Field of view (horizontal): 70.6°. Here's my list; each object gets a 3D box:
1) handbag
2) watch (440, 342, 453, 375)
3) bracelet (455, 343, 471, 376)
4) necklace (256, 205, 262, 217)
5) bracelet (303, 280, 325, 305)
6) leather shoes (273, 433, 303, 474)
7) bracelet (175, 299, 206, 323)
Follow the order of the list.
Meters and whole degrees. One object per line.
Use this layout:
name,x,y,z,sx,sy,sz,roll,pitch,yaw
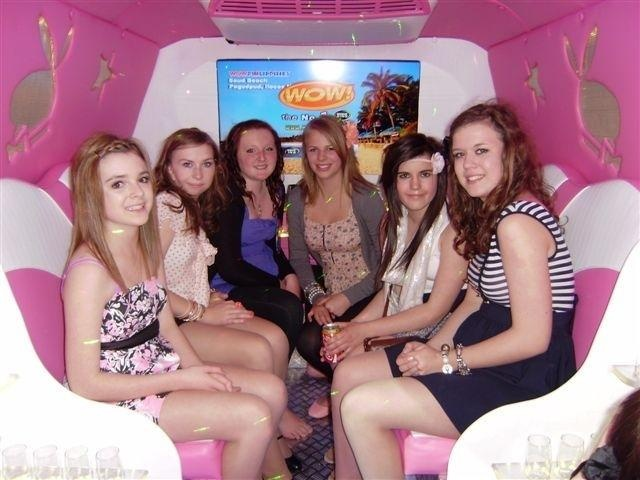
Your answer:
handbag,0.293,0.347,1.971,0.194,0.287,0.086,1,7,-31
watch,0.440,0.438,1.609,0.022,0.088,0.061,3,-4,-5
bracelet,0.494,0.426,1.610,0.035,0.086,0.062,-11,7,-2
necklace,-0.342,-0.158,2.535,0.033,0.048,0.014,-3,-4,36
bracelet,-0.038,0.303,2.499,0.086,0.073,0.113,-4,4,0
leather shoes,-0.150,0.949,2.068,0.060,0.066,0.232,-1,24,-24
bracelet,-0.583,0.325,2.033,0.093,0.048,0.094,-13,22,20
